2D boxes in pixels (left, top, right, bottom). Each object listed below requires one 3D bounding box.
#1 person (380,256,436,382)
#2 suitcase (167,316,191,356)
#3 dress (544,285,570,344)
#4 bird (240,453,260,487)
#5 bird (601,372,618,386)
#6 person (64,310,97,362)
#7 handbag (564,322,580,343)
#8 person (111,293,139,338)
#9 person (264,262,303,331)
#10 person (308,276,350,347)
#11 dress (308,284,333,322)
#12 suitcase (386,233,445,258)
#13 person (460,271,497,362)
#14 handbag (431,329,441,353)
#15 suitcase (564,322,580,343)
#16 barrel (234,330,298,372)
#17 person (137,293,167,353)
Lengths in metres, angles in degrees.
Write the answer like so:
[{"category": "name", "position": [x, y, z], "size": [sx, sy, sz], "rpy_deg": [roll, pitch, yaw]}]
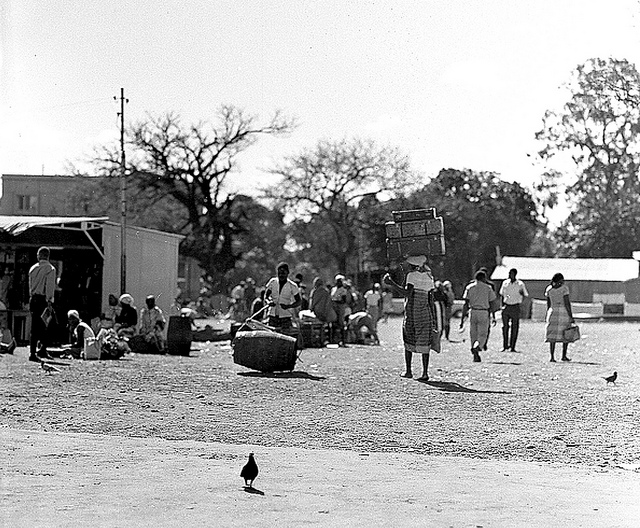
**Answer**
[{"category": "person", "position": [1.385, 0.782, 21.499], "size": [0.689, 1.868, 1.314], "rpy_deg": [0, -5, 5]}, {"category": "suitcase", "position": [-2.731, 1.358, 28.112], "size": [0.455, 0.748, 0.414], "rpy_deg": [2, -5, -10]}, {"category": "dress", "position": [4.305, 0.850, 26.023], "size": [0.415, 1.056, 0.864], "rpy_deg": [0, -5, 9]}, {"category": "bird", "position": [-0.656, 1.906, 13.419], "size": [0.139, 0.232, 0.294], "rpy_deg": [6, -38, -18]}, {"category": "bird", "position": [4.443, 1.733, 21.984], "size": [0.200, 0.196, 0.845], "rpy_deg": [0, -5, 11]}, {"category": "person", "position": [-4.402, 1.238, 26.414], "size": [0.640, 0.943, 0.454], "rpy_deg": [2, 12, 17]}, {"category": "handbag", "position": [4.623, 1.237, 26.282], "size": [0.242, 0.462, 0.450], "rpy_deg": [-1, -1, 29]}, {"category": "person", "position": [-3.831, 0.952, 28.046], "size": [0.565, 0.810, 0.578], "rpy_deg": [3, 8, -1]}, {"category": "person", "position": [-0.602, 0.482, 23.593], "size": [0.609, 1.173, 1.738], "rpy_deg": [1, -5, -2]}, {"category": "person", "position": [0.166, 0.990, 31.413], "size": [0.749, 1.492, 2.735], "rpy_deg": [0, -5, 9]}, {"category": "dress", "position": [0.028, 0.831, 31.206], "size": [0.529, 0.386, 0.814], "rpy_deg": [-15, -38, -9]}, {"category": "suitcase", "position": [1.485, -0.319, 21.942], "size": [0.889, 0.418, 0.586], "rpy_deg": [1, -5, -3]}, {"category": "person", "position": [2.983, 0.931, 26.798], "size": [0.578, 1.714, 1.265], "rpy_deg": [0, -5, 7]}, {"category": "handbag", "position": [1.763, 1.139, 21.654], "size": [0.063, 0.275, 0.272], "rpy_deg": [1, 28, 20]}, {"category": "suitcase", "position": [4.643, 1.139, 26.298], "size": [0.275, 0.534, 0.491], "rpy_deg": [0, -1, 24]}, {"category": "barrel", "position": [-0.877, 1.346, 22.938], "size": [0.989, 0.664, 0.492], "rpy_deg": [0, -5, 4]}, {"category": "person", "position": [-3.271, 1.122, 28.333], "size": [0.554, 1.119, 1.317], "rpy_deg": [1, -5, -6]}]
